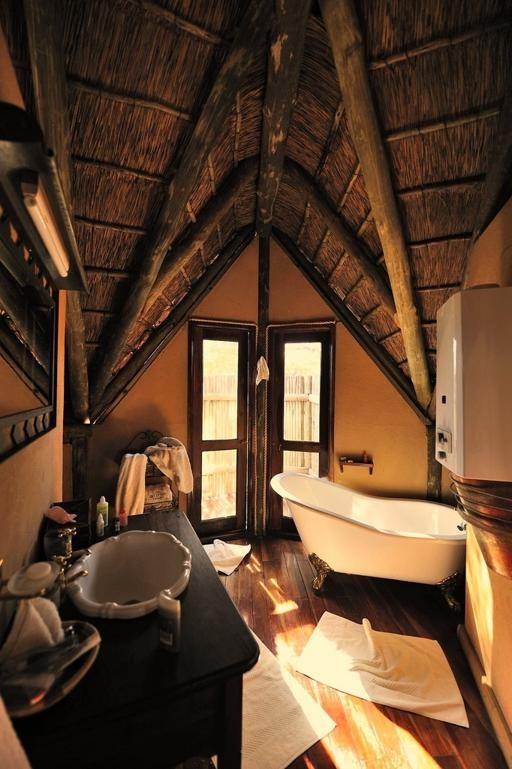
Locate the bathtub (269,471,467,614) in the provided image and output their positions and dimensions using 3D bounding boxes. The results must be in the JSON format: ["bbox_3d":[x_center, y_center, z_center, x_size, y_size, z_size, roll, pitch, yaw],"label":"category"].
[{"bbox_3d":[0.662,0.945,3.006,1.160,0.587,0.813,2,3,26],"label":"bathtub"}]

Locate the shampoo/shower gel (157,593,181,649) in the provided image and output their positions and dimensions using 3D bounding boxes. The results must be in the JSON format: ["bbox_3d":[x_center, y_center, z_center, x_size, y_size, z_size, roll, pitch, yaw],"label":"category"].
[{"bbox_3d":[-0.196,0.538,1.092,0.053,0.114,0.054,1,2,3],"label":"shampoo/shower gel"}]

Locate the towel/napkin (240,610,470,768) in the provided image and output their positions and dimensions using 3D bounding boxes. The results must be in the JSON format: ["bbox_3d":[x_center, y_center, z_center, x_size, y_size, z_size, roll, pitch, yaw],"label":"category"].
[{"bbox_3d":[0.381,1.251,2.107,1.030,0.097,0.780,0,3,-13],"label":"towel/napkin"}]

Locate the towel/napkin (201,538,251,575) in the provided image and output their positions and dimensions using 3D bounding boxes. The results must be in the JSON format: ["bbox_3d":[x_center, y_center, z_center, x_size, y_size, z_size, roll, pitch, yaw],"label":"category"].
[{"bbox_3d":[-0.223,1.167,3.347,0.333,0.099,0.621,1,3,7],"label":"towel/napkin"}]

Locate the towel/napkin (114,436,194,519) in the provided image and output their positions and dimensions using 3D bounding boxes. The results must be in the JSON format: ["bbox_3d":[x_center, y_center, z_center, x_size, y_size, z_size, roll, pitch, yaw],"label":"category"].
[{"bbox_3d":[-0.698,0.581,3.149,0.472,0.445,0.429,-1,3,-31],"label":"towel/napkin"}]
